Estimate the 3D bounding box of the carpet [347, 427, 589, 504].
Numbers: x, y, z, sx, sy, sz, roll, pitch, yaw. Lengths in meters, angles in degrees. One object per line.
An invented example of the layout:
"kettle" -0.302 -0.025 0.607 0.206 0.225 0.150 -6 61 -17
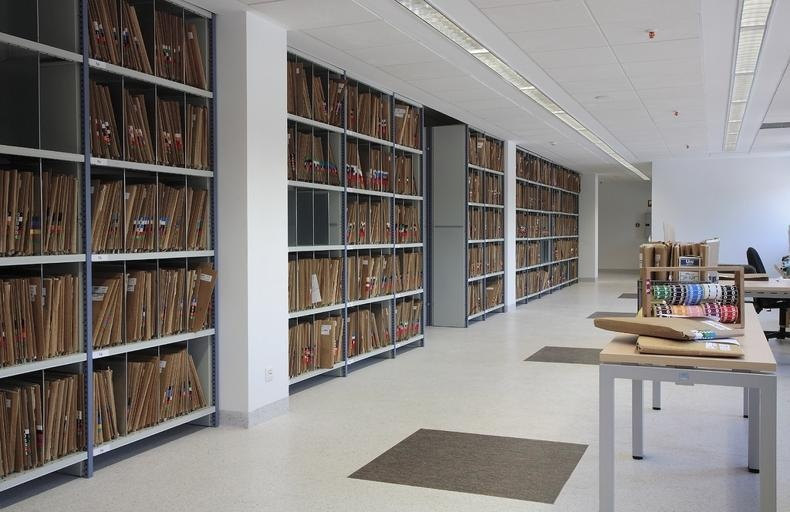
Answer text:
"carpet" 0.644 1.622 4.307 1.661 0.021 1.015 1 5 15
